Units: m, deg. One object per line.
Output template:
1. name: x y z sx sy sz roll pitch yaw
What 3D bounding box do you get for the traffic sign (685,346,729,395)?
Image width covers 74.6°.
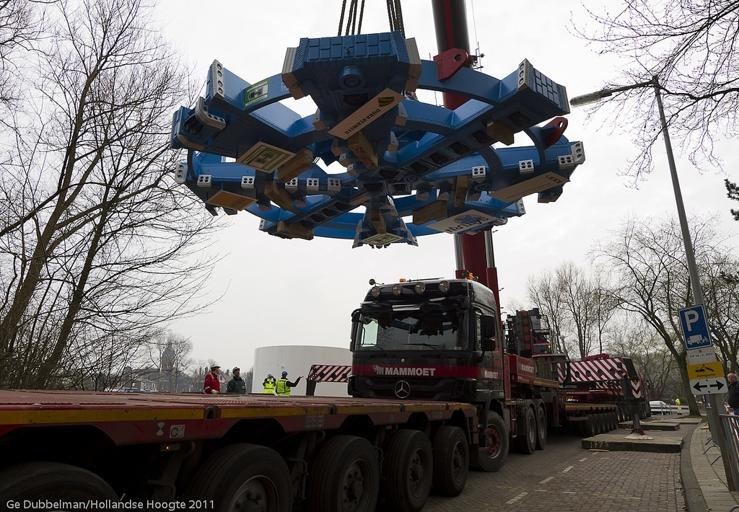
1. traffic sign: 6.218 2.122 8.973 0.594 0.830 0.502 -16 -24 37

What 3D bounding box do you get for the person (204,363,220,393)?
1. person: -4.892 3.799 15.120 0.425 0.902 2.256 5 -19 -17

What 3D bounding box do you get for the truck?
1. truck: 4.894 4.566 16.630 4.442 4.855 16.769 -18 -30 34
